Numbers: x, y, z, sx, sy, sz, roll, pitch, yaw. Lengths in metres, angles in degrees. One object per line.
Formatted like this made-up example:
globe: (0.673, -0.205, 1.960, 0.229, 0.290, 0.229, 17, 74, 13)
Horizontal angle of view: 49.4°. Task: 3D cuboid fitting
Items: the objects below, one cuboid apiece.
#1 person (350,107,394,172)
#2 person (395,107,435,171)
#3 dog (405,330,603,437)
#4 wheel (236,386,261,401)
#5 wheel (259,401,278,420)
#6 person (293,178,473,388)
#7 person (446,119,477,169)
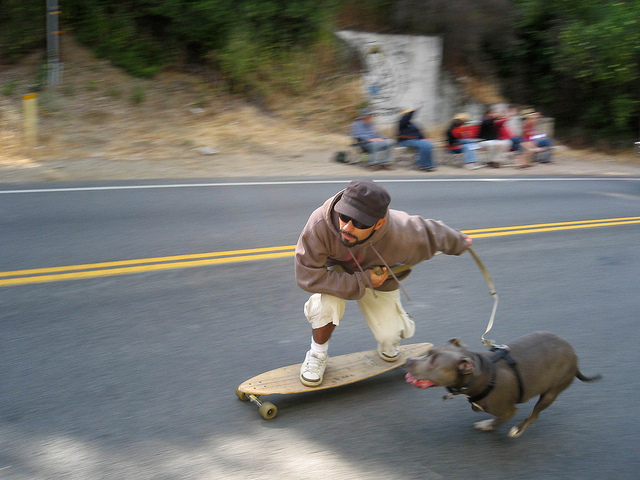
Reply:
person: (1.095, -2.058, 14.640, 0.885, 1.147, 1.135, -1, 17, 5)
person: (2.046, -2.167, 15.061, 0.737, 1.301, 1.097, -4, 17, -4)
dog: (1.601, 1.310, 6.296, 2.225, 0.692, 0.632, -2, 11, -32)
wheel: (-0.666, 1.417, 6.425, 0.243, 0.143, 0.067, 2, 17, -15)
wheel: (-0.482, 1.559, 6.321, 0.160, 0.117, 0.130, -30, 13, -13)
person: (0.515, 0.389, 6.527, 1.559, 1.952, 0.699, -3, 20, -2)
person: (3.222, -2.177, 15.706, 0.558, 1.061, 0.837, -3, 18, 0)
